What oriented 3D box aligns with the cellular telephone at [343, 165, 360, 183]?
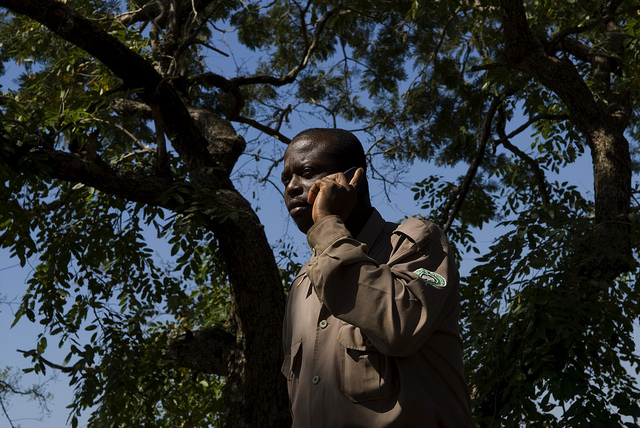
[{"bbox_3d":[0.314,-0.423,9.967,0.151,0.039,0.149,5,-78,-51],"label":"cellular telephone"}]
